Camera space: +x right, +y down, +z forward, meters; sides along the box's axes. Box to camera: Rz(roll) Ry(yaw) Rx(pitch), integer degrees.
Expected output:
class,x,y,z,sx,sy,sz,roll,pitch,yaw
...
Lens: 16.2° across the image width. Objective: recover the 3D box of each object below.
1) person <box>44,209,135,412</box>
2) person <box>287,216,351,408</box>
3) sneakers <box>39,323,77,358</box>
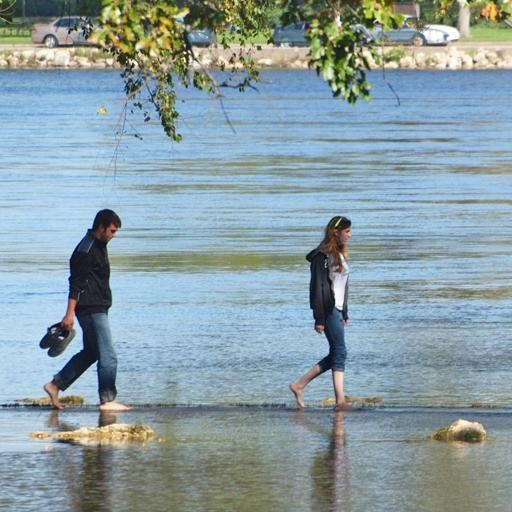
class,x,y,z,sx,sy,sz,roll,pitch,yaw
person,-1.476,0.478,15.505,0.705,1.755,0.405,1,9,19
person,0.567,0.509,15.709,0.526,1.680,0.416,-1,8,3
sneakers,-1.781,0.755,15.663,0.178,0.219,0.374,23,-10,-6
